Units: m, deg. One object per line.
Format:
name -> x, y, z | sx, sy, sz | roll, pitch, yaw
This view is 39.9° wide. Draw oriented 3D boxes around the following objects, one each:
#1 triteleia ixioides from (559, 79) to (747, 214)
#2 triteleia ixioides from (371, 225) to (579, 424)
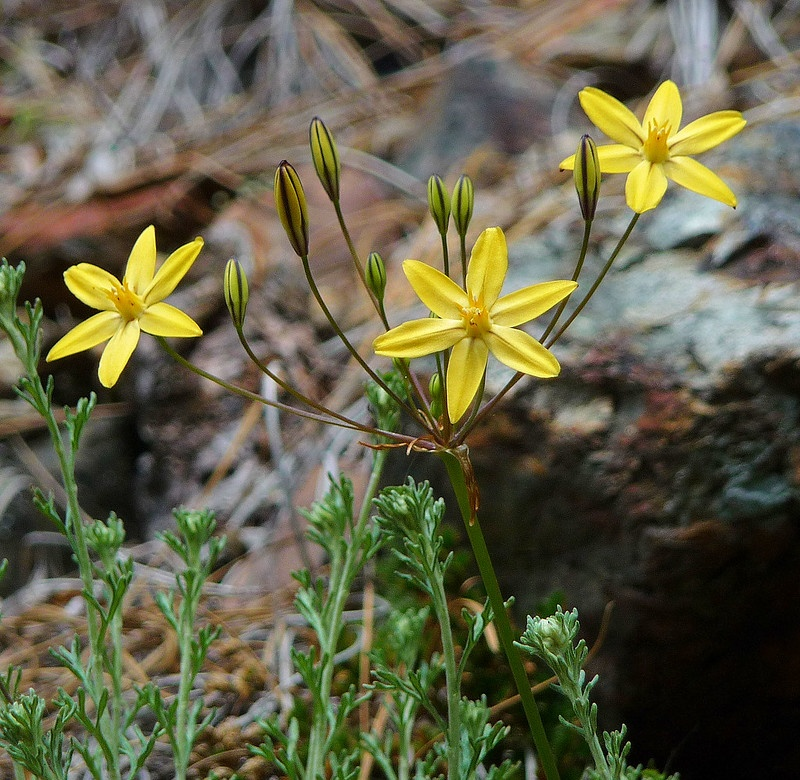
triteleia ixioides -> 1.042, -1.017, 4.450 | 0.743, 0.255, 0.703 | 2, -3, -33
triteleia ixioides -> 0.264, -0.244, 3.962 | 0.652, 0.475, 0.634 | 10, 46, 10
